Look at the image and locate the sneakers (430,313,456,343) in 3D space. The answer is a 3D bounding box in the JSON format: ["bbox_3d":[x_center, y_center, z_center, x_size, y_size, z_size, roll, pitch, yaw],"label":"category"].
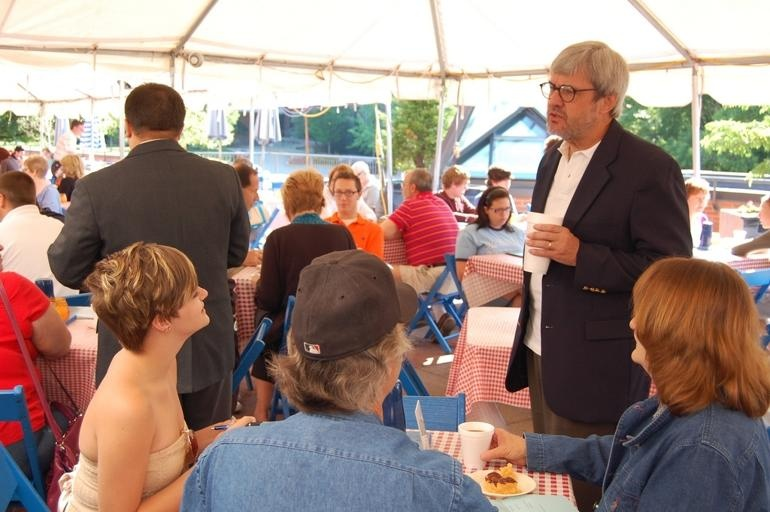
[{"bbox_3d":[0.594,0.708,6.770,0.183,0.301,0.098,8,-16,9],"label":"sneakers"}]

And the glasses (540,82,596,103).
[{"bbox_3d":[0.877,-0.768,3.226,0.167,0.051,0.160,-3,11,-40],"label":"glasses"}]

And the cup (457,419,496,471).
[{"bbox_3d":[0.347,0.773,2.819,0.168,0.163,0.157,1,4,0],"label":"cup"}]

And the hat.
[{"bbox_3d":[-0.121,0.112,2.382,0.396,0.275,0.532,7,30,21],"label":"hat"}]

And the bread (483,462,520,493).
[{"bbox_3d":[0.445,0.850,2.641,0.097,0.039,0.109,-3,12,-8],"label":"bread"}]
